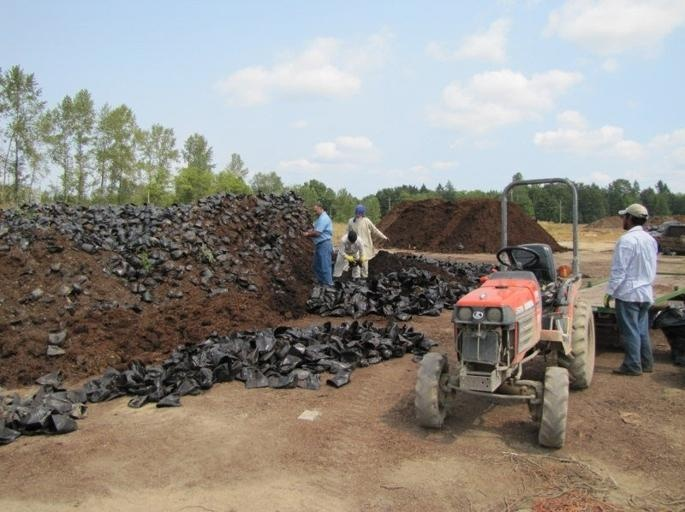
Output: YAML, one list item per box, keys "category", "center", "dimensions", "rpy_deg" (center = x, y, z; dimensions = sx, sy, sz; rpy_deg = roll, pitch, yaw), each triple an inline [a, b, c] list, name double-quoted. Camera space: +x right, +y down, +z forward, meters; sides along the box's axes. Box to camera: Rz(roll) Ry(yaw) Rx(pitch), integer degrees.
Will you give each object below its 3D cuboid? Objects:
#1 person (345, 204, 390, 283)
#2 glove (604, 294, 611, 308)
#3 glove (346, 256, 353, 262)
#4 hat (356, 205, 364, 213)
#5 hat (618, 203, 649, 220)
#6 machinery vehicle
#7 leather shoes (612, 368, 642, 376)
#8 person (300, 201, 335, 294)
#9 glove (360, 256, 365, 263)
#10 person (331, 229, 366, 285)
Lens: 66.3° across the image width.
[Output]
- category: "person"
  center: [0.537, -0.316, 13.325]
  dimensions: [1.147, 1.968, 0.489]
  rpy_deg: [-6, 27, 0]
- category: "glove"
  center: [4.450, 0.725, 8.794]
  dimensions: [0.064, 0.255, 0.177]
  rpy_deg: [7, 4, 28]
- category: "glove"
  center: [0.180, 0.049, 12.779]
  dimensions: [0.181, 0.130, 0.127]
  rpy_deg: [0, 2, -10]
- category: "hat"
  center: [0.418, -1.149, 12.552]
  dimensions: [0.167, 0.158, 0.174]
  rpy_deg: [6, 10, 24]
- category: "hat"
  center: [4.624, -0.720, 8.413]
  dimensions: [0.354, 0.274, 0.503]
  rpy_deg: [3, 6, -23]
- category: "machinery vehicle"
  center: [2.532, 0.593, 7.500]
  dimensions: [1.876, 3.240, 3.482]
  rpy_deg: [2, 7, 36]
- category: "leather shoes"
  center: [4.471, 1.778, 8.200]
  dimensions: [0.337, 0.153, 0.150]
  rpy_deg: [2, 1, 23]
- category: "person"
  center: [-0.536, -0.270, 12.478]
  dimensions: [0.545, 1.954, 0.883]
  rpy_deg: [0, 2, 4]
- category: "glove"
  center: [0.484, 0.057, 12.789]
  dimensions: [0.116, 0.123, 0.039]
  rpy_deg: [6, 5, 12]
- category: "person"
  center: [0.224, 0.001, 12.994]
  dimensions: [0.679, 1.449, 0.995]
  rpy_deg: [-16, 34, -24]
